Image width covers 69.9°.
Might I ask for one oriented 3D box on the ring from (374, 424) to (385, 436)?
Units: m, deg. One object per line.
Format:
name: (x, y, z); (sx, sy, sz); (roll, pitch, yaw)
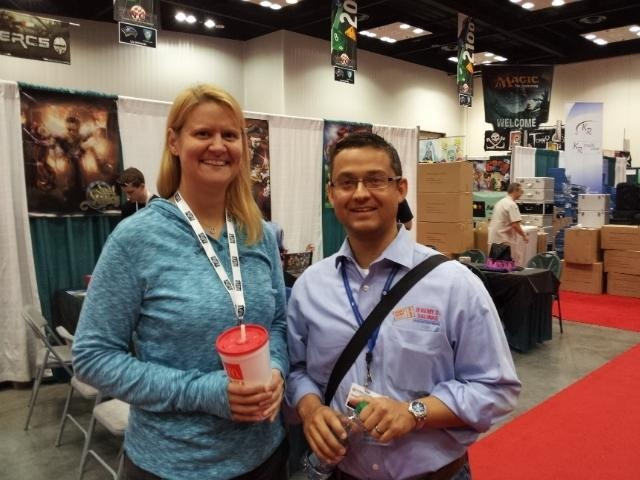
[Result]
ring: (0.189, 0.601, 1.452); (0.023, 0.009, 0.025); (27, -16, 8)

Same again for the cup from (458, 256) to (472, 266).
cup: (1.824, 0.253, 5.826); (0.159, 0.164, 0.162); (-3, 2, 0)

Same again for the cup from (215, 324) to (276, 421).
cup: (-0.224, 0.406, 1.441); (0.177, 0.206, 0.182); (-8, 18, 3)

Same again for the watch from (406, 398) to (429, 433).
watch: (0.316, 0.571, 1.494); (0.056, 0.094, 0.089); (2, 17, 1)
